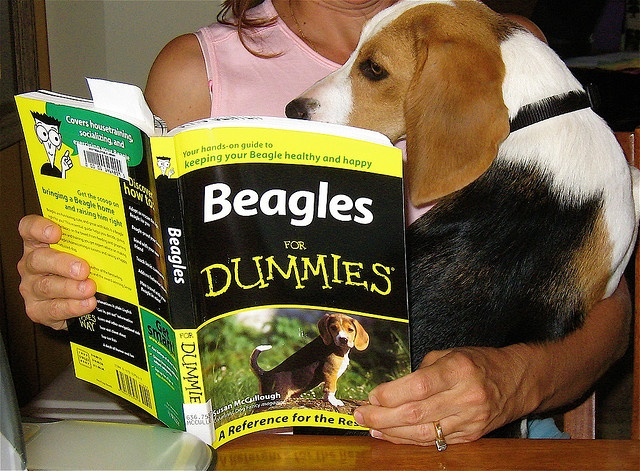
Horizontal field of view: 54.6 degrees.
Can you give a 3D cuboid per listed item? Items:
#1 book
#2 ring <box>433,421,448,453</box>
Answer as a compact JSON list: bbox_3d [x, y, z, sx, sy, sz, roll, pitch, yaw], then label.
[{"bbox_3d":[-0.180,0.055,0.914,0.660,0.484,0.269,9,37,8],"label":"book"},{"bbox_3d":[0.185,0.312,0.957,0.022,0.009,0.035,-13,64,-25],"label":"ring"}]
